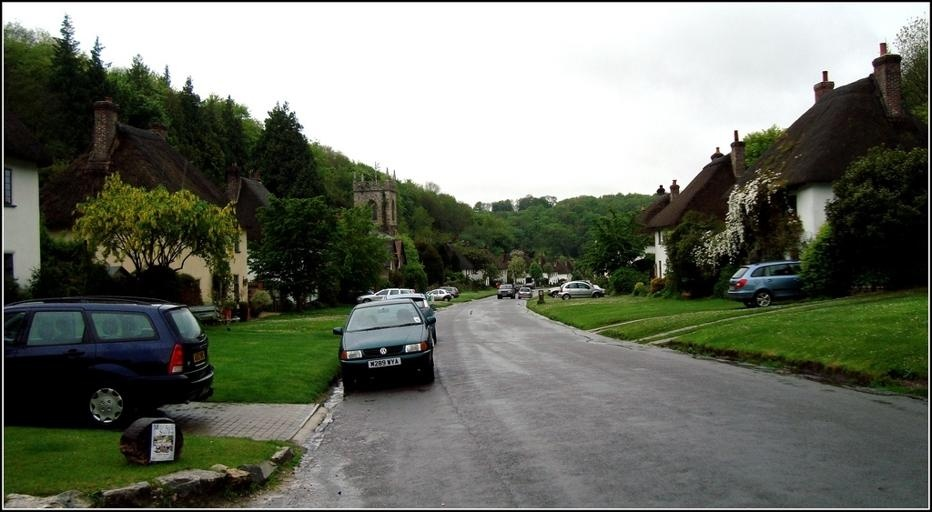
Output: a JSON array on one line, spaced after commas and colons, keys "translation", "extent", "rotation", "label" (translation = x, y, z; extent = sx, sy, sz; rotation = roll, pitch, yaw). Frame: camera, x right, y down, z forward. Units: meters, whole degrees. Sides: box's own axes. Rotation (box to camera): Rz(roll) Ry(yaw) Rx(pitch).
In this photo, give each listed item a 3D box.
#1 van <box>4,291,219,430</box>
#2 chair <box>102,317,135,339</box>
[{"translation": [-9.393, 2.756, 16.441], "extent": [4.747, 3.073, 1.266], "rotation": [-1, 8, 3], "label": "van"}, {"translation": [-9.039, 1.872, 16.612], "extent": [0.666, 0.586, 0.601], "rotation": [0, -6, -7], "label": "chair"}]
